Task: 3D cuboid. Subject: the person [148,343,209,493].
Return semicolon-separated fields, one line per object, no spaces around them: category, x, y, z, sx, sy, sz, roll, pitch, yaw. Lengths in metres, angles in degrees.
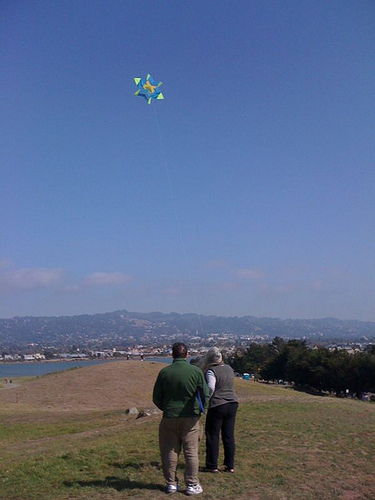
person;-0.078;2.325;6.314;0.747;2.026;0.348;-3;-11;-6

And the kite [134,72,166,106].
kite;-1.572;-6.346;18.308;0.881;1.496;1.366;-5;-10;2
